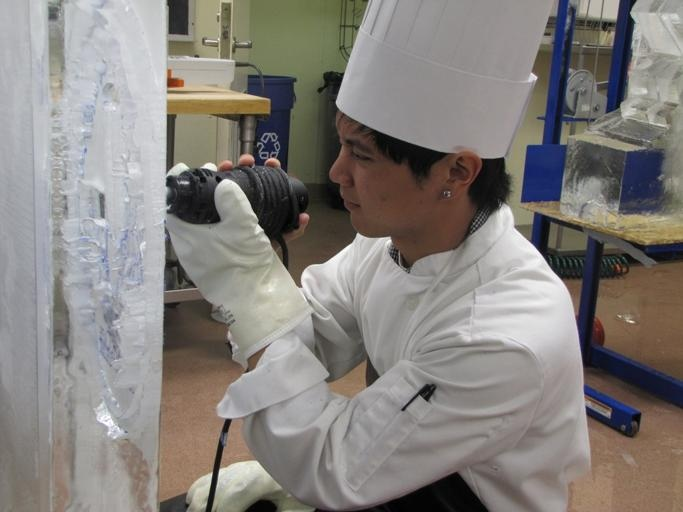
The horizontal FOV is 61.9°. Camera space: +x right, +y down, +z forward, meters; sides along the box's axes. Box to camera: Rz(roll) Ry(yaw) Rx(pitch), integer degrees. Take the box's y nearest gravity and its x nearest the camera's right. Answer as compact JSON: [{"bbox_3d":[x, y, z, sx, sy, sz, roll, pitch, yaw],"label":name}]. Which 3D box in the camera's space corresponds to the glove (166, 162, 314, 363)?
[{"bbox_3d":[-0.183,0.028,1.144,0.373,0.231,0.135,52,2,5],"label":"glove"}]
